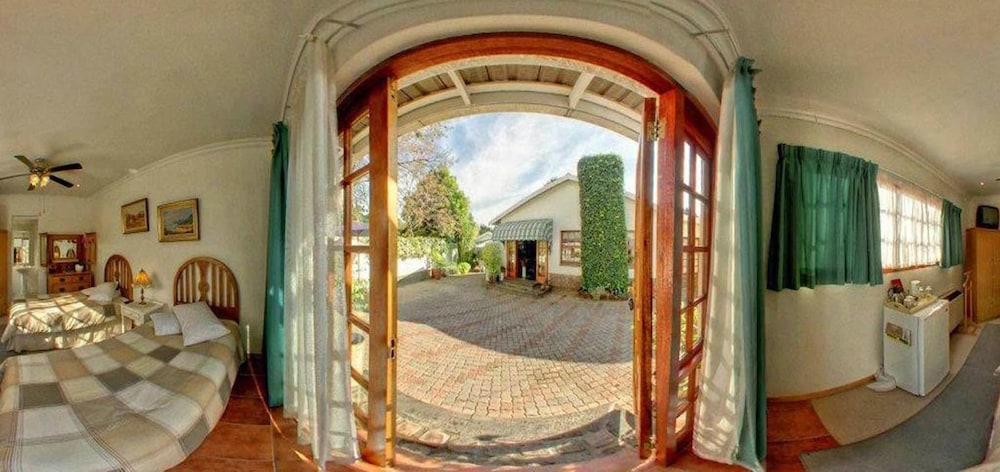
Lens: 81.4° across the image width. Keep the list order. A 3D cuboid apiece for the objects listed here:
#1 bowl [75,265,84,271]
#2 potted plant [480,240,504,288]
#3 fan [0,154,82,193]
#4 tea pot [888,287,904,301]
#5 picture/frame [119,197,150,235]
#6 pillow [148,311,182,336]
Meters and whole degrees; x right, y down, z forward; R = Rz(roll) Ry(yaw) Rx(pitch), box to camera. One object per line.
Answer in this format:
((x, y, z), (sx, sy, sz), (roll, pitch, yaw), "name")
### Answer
((-6.850, 0.523, 9.482), (0.111, 0.079, 0.106), (3, 0, 0), "bowl")
((-0.201, 0.781, 16.342), (0.562, 1.159, 1.014), (0, -3, -1), "potted plant")
((-7.163, -0.977, 9.131), (1.056, 0.496, 0.644), (1, -3, -28), "fan")
((5.324, 0.789, 7.845), (0.236, 0.208, 0.139), (-4, -3, 28), "tea pot")
((-5.907, -0.355, 9.413), (0.681, 0.565, 0.048), (3, 6, 19), "picture/frame")
((-5.150, 1.341, 8.968), (0.351, 0.147, 0.545), (-9, 27, -29), "pillow")
